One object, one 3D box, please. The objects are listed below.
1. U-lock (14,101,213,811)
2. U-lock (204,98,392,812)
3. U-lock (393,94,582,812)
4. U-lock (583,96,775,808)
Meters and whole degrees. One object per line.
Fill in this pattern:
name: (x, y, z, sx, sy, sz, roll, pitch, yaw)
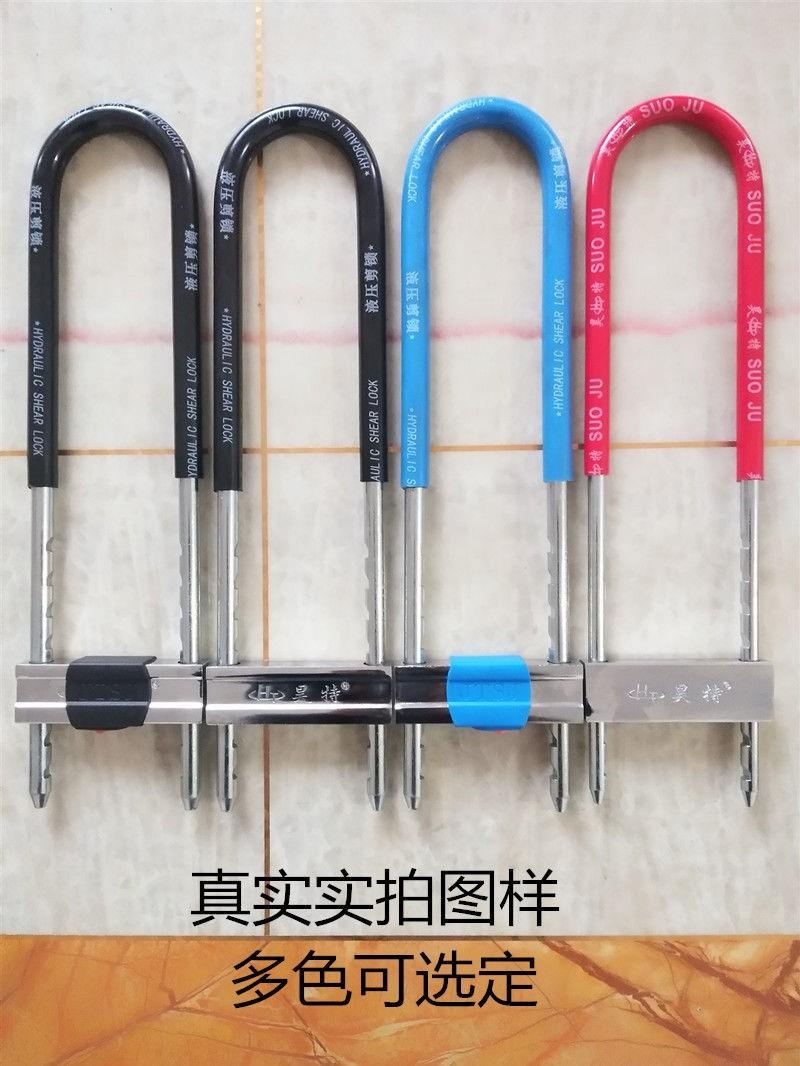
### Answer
U-lock: (-0.297, -0.076, 1.859, 0.184, 0.701, 0.138, -1, -7, -1)
U-lock: (-0.102, -0.076, 1.838, 0.180, 0.696, 0.119, 0, -7, -1)
U-lock: (0.091, -0.076, 1.837, 0.183, 0.704, 0.123, -1, -7, 0)
U-lock: (0.287, -0.081, 1.845, 0.194, 0.702, 0.128, -1, -7, 4)
